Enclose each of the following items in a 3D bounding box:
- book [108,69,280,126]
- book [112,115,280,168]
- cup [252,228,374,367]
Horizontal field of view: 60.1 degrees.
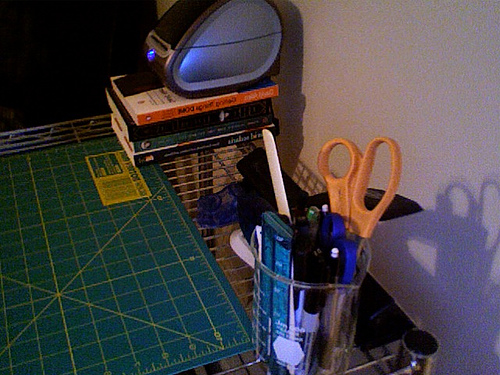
[{"bbox_3d":[-0.177,-0.260,1.245,0.271,0.060,0.274,-21,39,-21],"label":"book"},{"bbox_3d":[-0.209,-0.142,1.307,0.277,0.067,0.198,-19,39,-25],"label":"book"},{"bbox_3d":[0.104,0.195,0.768,0.135,0.214,0.175,-31,49,-33],"label":"cup"}]
